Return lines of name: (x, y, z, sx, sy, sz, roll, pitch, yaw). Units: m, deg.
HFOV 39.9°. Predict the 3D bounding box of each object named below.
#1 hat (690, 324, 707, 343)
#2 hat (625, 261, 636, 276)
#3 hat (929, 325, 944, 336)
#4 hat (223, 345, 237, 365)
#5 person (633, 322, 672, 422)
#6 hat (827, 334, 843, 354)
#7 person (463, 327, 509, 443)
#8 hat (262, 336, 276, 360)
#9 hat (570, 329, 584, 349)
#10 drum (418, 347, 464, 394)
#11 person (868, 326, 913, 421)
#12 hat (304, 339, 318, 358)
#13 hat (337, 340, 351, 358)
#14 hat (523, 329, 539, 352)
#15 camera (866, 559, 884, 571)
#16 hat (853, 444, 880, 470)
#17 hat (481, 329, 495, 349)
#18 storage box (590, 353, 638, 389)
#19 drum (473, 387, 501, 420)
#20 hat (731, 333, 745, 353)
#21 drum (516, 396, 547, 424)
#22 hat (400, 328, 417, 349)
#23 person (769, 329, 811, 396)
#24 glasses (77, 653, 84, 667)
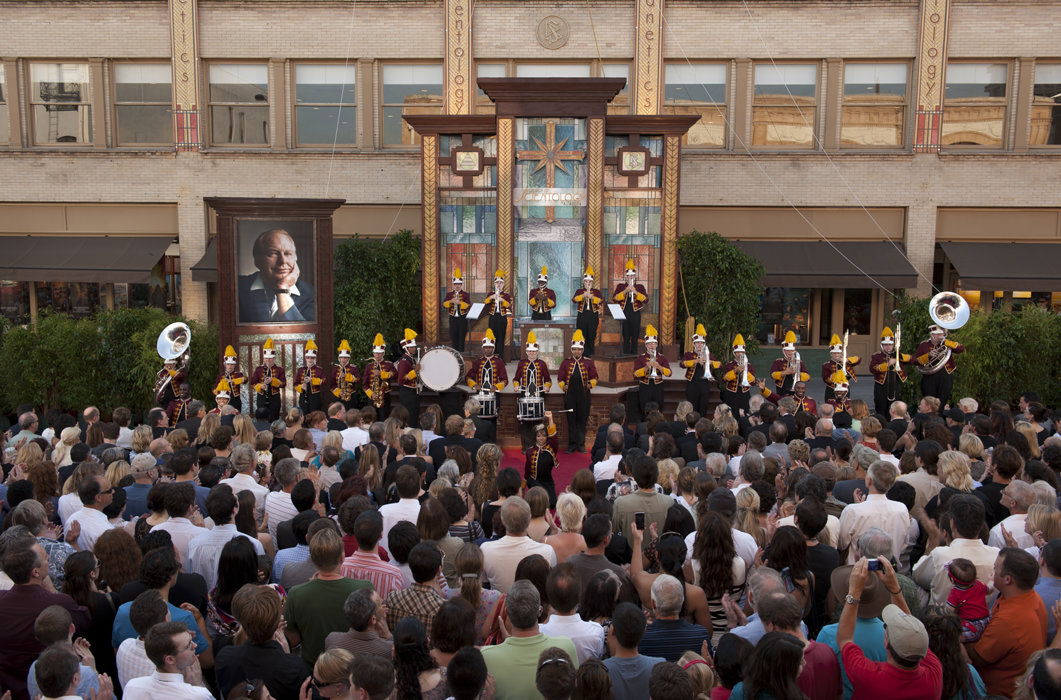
hat: (3.260, -0.306, 27.973, 0.313, 0.353, 0.447, 1, -3, 2)
hat: (2.052, -1.657, 29.922, 0.278, 0.305, 0.278, 0, 6, 5)
hat: (7.976, -0.368, 28.512, 0.269, 0.207, 0.204, 0, 0, 26)
hat: (-5.835, 0.127, 28.092, 0.310, 0.421, 0.307, -1, 1, -17)
person: (2.396, 0.599, 28.178, 0.712, 2.083, 0.658, -1, 11, 6)
hat: (5.821, -0.094, 27.741, 0.263, 0.296, 0.750, 0, -1, 12)
person: (-0.868, 0.800, 27.421, 0.782, 2.220, 0.738, 8, 22, 12)
hat: (-5.113, -0.037, 28.368, 0.237, 0.405, 0.681, 0, 0, -9)
hat: (0.895, -0.181, 27.449, 0.229, 0.308, 0.329, 0, -4, 3)
drum: (-1.722, 0.427, 27.716, 0.616, 0.643, 0.353, 33, 8, 8)
person: (7.087, 0.543, 28.669, 0.722, 2.127, 0.675, 1, 28, 11)
hat: (-4.304, -0.026, 28.400, 0.239, 0.350, 0.496, 0, 0, -12)
hat: (-3.607, -0.018, 28.025, 0.329, 0.384, 0.383, 1, -3, -7)
hat: (-0.006, -0.140, 27.090, 0.209, 0.403, 0.615, 0, 0, -4)
camera: (4.438, 2.755, 18.686, 0.197, 0.176, 0.174, 0, 0, 15)
hat: (4.909, 1.592, 21.279, 0.296, 0.334, 0.362, 3, 22, -2)
hat: (-0.789, -0.193, 27.237, 0.244, 0.347, 0.135, 2, 8, 8)
storage box: (1.655, 0.393, 28.951, 0.671, 0.508, 0.670, -5, 9, -38)
drum: (-0.815, 1.024, 27.139, 0.502, 0.640, 0.506, -1, 2, 0)
hat: (3.951, -0.114, 27.524, 0.336, 0.436, 0.478, 0, -3, 3)
drum: (0.039, 1.055, 27.050, 0.737, 0.639, 0.420, 2, 9, 4)
hat: (-2.371, -0.212, 28.469, 0.364, 0.398, 0.406, -3, -5, 44)
person: (5.012, 0.374, 27.591, 0.712, 1.518, 0.767, -4, 2, 4)
glasses: (-5.750, 3.933, 18.548, 0.027, 0.100, 0.098, -25, 30, -34)
